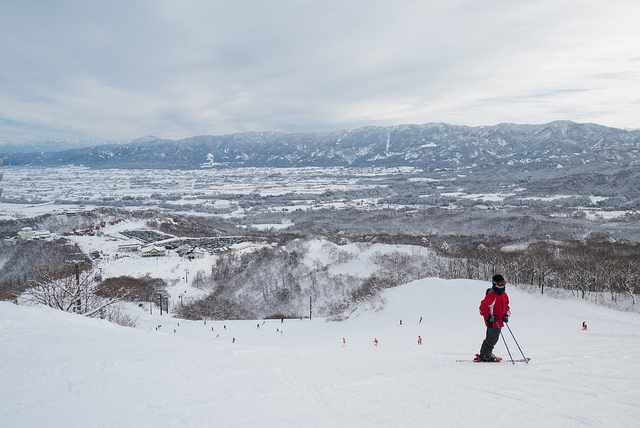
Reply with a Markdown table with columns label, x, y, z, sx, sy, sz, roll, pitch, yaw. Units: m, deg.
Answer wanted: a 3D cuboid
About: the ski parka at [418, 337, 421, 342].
| label | x | y | z | sx | sy | sz | roll | pitch | yaw |
| --- | --- | --- | --- | --- | --- | --- | --- | --- | --- |
| ski parka | 8.050 | 10.094 | 41.066 | 0.237 | 0.383 | 0.251 | 4 | 6 | 5 |
